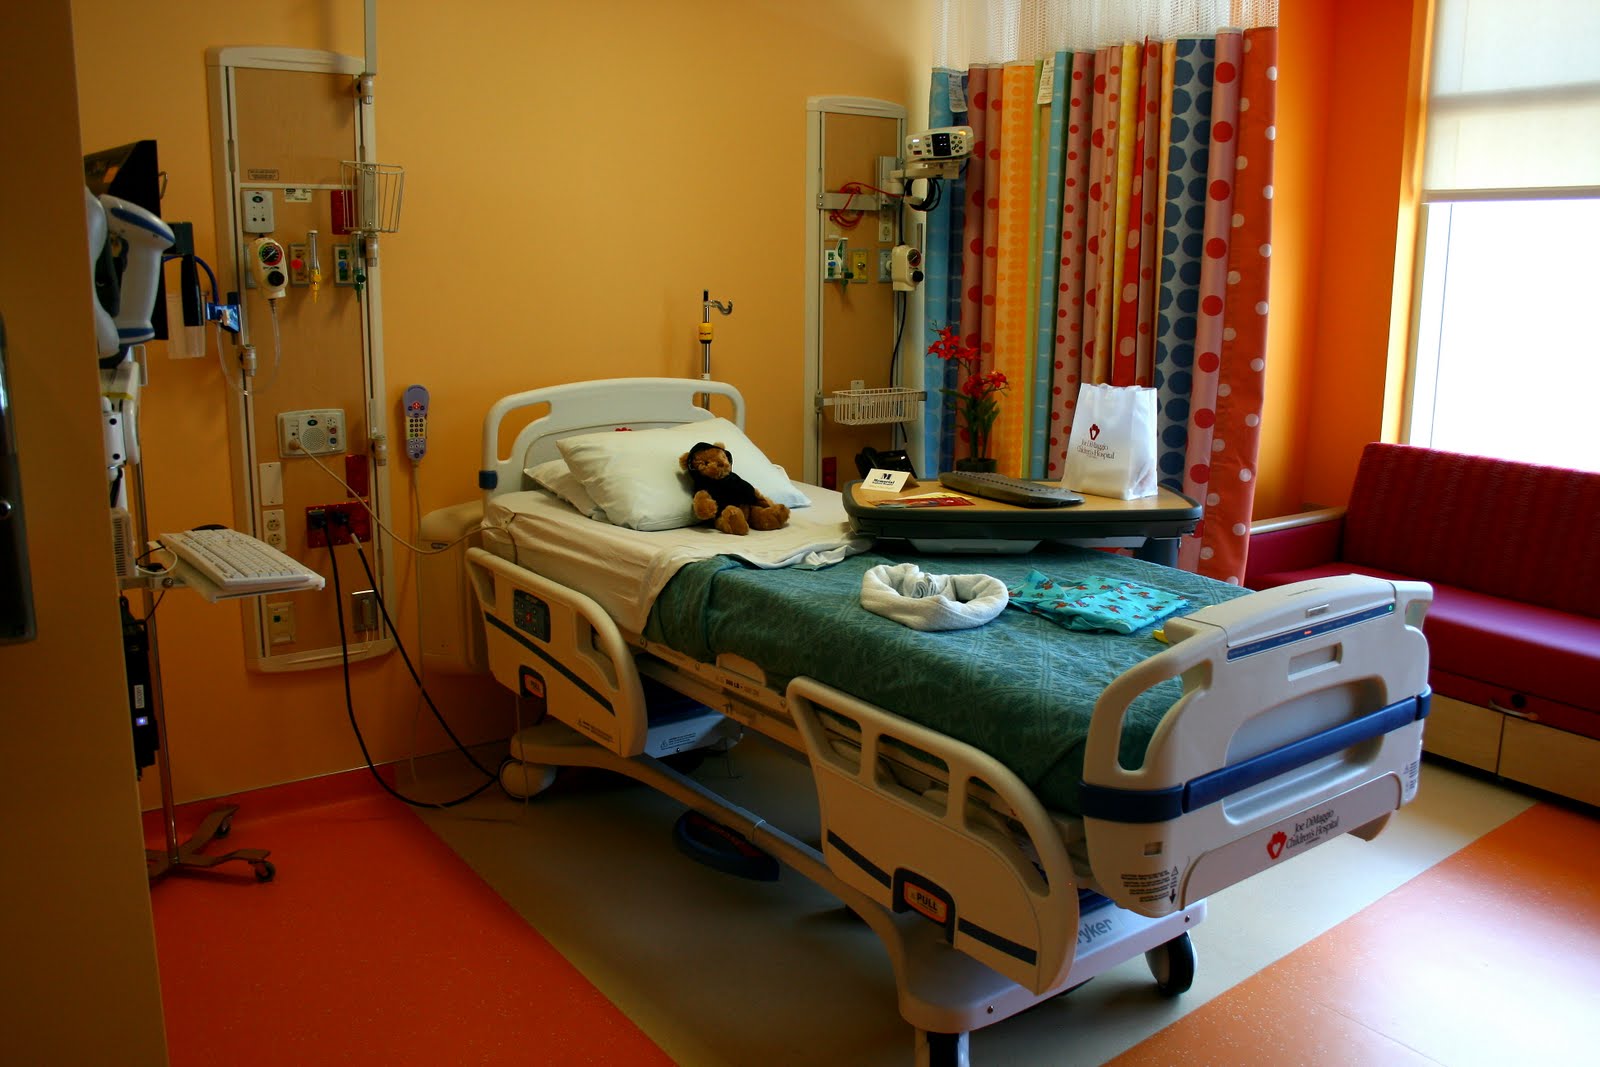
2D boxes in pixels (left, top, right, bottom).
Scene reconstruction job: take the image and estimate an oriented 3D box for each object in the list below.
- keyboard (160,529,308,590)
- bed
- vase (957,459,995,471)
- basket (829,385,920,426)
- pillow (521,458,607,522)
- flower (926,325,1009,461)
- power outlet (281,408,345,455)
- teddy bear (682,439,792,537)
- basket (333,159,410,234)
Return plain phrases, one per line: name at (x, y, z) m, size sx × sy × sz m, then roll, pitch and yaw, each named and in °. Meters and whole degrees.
keyboard at (-1.467, 0.067, 3.113) m, size 0.230 × 0.068 × 0.608 m, roll -17°, pitch 21°, yaw -41°
bed at (0.044, 0.306, 3.608) m, size 1.399 × 1.513 × 2.824 m, roll -8°, pitch 15°, yaw -38°
vase at (0.706, -0.273, 4.792) m, size 0.065 × 0.041 × 0.086 m, roll 0°, pitch 3°, yaw -12°
basket at (0.295, -0.530, 5.040) m, size 0.278 × 0.112 × 0.185 m, roll -6°, pitch 11°, yaw -25°
pillow at (-0.813, -0.164, 4.163) m, size 0.200 × 0.084 × 0.304 m, roll 11°, pitch 21°, yaw -46°
flower at (0.688, -0.594, 4.912) m, size 0.320 × 0.643 × 0.345 m, roll -14°, pitch 22°, yaw -27°
power outlet at (-1.656, -0.349, 4.090) m, size 0.147 × 0.108 × 0.016 m, roll -6°, pitch 8°, yaw -41°
teddy bear at (-0.226, -0.159, 3.973) m, size 0.329 × 0.360 × 0.287 m, roll -13°, pitch -1°, yaw 15°
basket at (-1.426, -1.127, 4.091) m, size 0.221 × 0.198 × 0.209 m, roll 14°, pitch 19°, yaw 39°
